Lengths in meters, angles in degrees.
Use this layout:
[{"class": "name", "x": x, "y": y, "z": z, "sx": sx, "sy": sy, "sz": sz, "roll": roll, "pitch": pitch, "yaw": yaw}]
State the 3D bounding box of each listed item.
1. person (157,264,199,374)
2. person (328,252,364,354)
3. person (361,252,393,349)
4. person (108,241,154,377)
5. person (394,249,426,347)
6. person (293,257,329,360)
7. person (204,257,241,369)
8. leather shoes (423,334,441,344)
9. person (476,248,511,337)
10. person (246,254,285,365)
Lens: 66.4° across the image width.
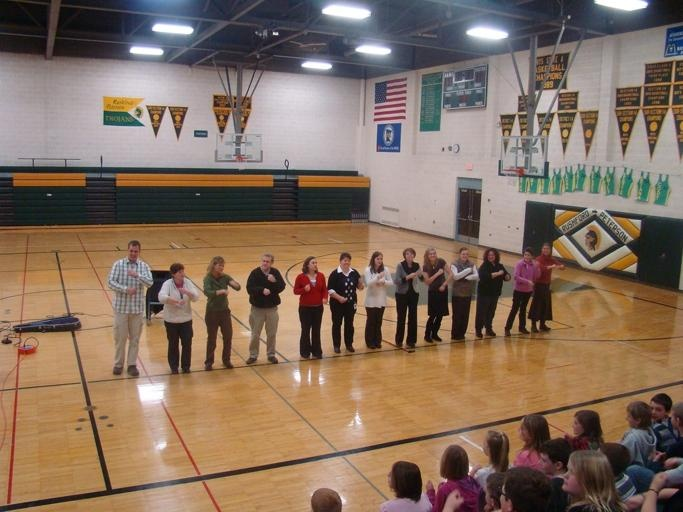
[{"class": "person", "x": -2.623, "y": 1.045, "z": 8.499, "sx": 0.562, "sy": 1.871, "sz": 0.732, "roll": -2, "pitch": 9, "yaw": -17}, {"class": "person", "x": 0.061, "y": 0.866, "z": 9.634, "sx": 0.618, "sy": 1.916, "sz": 0.937, "roll": 0, "pitch": 8, "yaw": 0}, {"class": "person", "x": 0.694, "y": 0.847, "z": 9.884, "sx": 0.473, "sy": 1.882, "sz": 1.005, "roll": 1, "pitch": 8, "yaw": 4}, {"class": "person", "x": -3.463, "y": 0.842, "z": 8.621, "sx": 0.661, "sy": 2.183, "sz": 1.237, "roll": -3, "pitch": 9, "yaw": -23}, {"class": "person", "x": 1.282, "y": 0.830, "z": 9.856, "sx": 0.501, "sy": 1.963, "sz": 0.636, "roll": 1, "pitch": 9, "yaw": 6}, {"class": "person", "x": -0.522, "y": 0.944, "z": 9.283, "sx": 0.559, "sy": 1.885, "sz": 0.630, "roll": 0, "pitch": 8, "yaw": -2}, {"class": "person", "x": -2.023, "y": 0.969, "z": 8.756, "sx": 0.609, "sy": 1.954, "sz": 1.049, "roll": -2, "pitch": 9, "yaw": -13}, {"class": "leather shoes", "x": 1.823, "y": 1.680, "z": 10.477, "sx": 0.399, "sy": 0.177, "sz": 0.129, "roll": -6, "pitch": 13, "yaw": -11}, {"class": "person", "x": 3.030, "y": 0.777, "z": 10.559, "sx": 0.565, "sy": 1.829, "sz": 0.797, "roll": 2, "pitch": 9, "yaw": 15}, {"class": "person", "x": -1.313, "y": 0.939, "z": 8.947, "sx": 0.649, "sy": 1.973, "sz": 0.717, "roll": -2, "pitch": 9, "yaw": -14}]
